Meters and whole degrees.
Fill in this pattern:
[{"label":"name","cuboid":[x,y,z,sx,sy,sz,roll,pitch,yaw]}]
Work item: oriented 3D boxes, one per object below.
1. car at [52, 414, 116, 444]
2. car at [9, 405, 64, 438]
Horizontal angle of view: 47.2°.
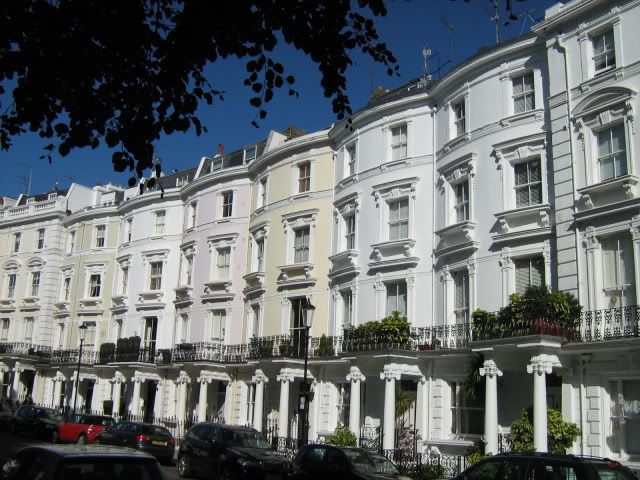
[{"label":"car","cuboid":[-10.151,8.042,31.432,2.527,1.008,1.304,-7,-13,42]},{"label":"car","cuboid":[-13.377,8.586,34.739,1.423,1.144,3.145,14,-22,-37]}]
